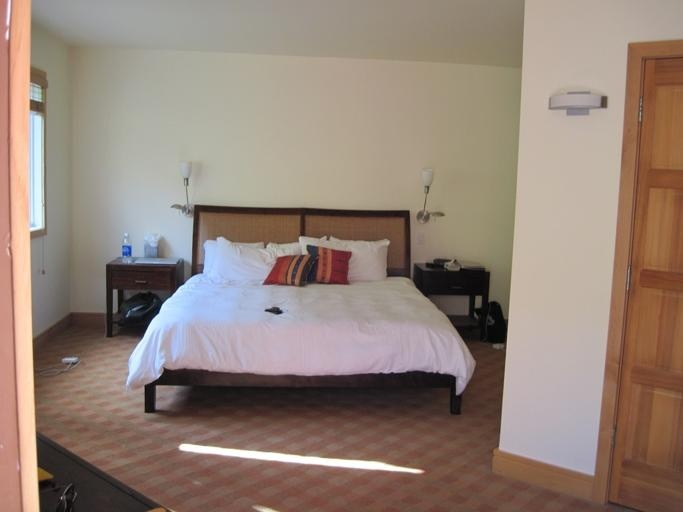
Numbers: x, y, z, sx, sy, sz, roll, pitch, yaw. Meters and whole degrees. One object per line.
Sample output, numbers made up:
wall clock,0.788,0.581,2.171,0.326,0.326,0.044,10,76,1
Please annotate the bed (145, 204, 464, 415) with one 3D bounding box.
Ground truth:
bed,-0.339,0.065,4.931,1.958,1.228,1.999,0,4,-3

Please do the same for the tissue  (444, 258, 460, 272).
tissue ,1.175,0.085,5.807,0.122,0.047,0.124,-3,19,-19

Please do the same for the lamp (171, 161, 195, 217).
lamp,-1.706,-0.713,5.800,0.230,0.590,0.164,-1,11,-15

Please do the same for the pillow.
pillow,-0.478,0.008,5.645,1.849,0.395,0.739,-1,12,-16

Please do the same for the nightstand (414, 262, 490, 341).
nightstand,1.168,0.461,5.930,0.679,0.640,0.548,1,-9,14

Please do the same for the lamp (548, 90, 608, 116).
lamp,1.282,-0.845,2.982,0.180,0.068,0.180,1,9,5

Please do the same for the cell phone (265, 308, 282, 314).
cell phone,-0.527,0.412,4.202,0.138,0.025,0.151,1,11,-4

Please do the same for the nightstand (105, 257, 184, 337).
nightstand,-2.069,0.443,5.781,0.700,0.752,0.542,2,4,-6
